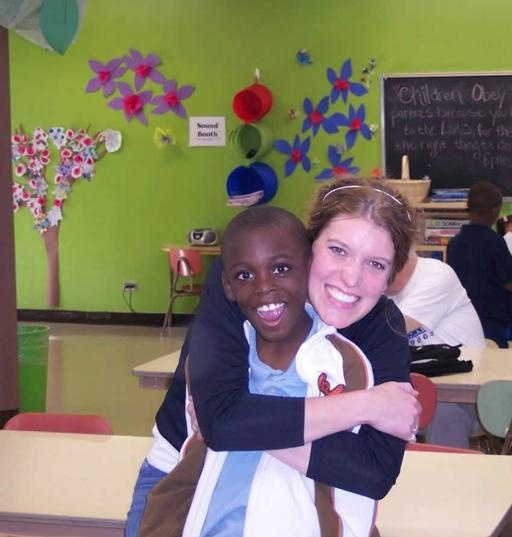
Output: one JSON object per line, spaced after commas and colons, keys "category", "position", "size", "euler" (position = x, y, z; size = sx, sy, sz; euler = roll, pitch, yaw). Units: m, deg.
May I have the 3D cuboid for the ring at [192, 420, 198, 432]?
{"category": "ring", "position": [-0.105, 0.266, 0.907], "size": [0.005, 0.019, 0.018], "euler": [-1, 3, -8]}

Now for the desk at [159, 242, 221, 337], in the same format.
{"category": "desk", "position": [-0.600, 0.212, 5.241], "size": [0.547, 0.803, 0.513], "euler": [0, 3, -37]}
